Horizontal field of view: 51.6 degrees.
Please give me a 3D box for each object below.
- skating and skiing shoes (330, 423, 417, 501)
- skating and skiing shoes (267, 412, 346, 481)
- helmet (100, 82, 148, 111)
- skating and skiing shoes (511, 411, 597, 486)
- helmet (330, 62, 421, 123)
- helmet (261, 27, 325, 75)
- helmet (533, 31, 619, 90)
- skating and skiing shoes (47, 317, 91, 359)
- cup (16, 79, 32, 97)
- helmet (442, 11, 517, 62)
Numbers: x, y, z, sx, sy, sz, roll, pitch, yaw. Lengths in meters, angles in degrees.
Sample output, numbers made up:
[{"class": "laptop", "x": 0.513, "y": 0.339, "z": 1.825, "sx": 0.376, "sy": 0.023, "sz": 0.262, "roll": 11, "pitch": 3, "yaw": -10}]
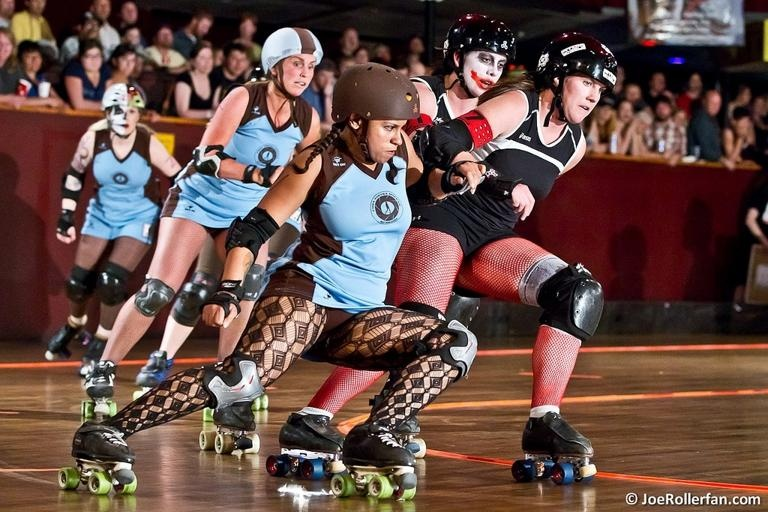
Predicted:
[{"class": "skating and skiing shoes", "x": -0.033, "y": 0.772, "z": 2.961, "sx": 0.136, "sy": 0.279, "sz": 0.391, "roll": 13, "pitch": -16, "yaw": -36}, {"class": "skating and skiing shoes", "x": -0.298, "y": 0.797, "z": 3.291, "sx": 0.364, "sy": 0.254, "sz": 0.231, "roll": -4, "pitch": -12, "yaw": 43}, {"class": "helmet", "x": -1.951, "y": -1.163, "z": 5.910, "sx": 0.269, "sy": 0.217, "sz": 0.199, "roll": -10, "pitch": 10, "yaw": 5}, {"class": "skating and skiing shoes", "x": 0.709, "y": 0.799, "z": 3.289, "sx": 0.196, "sy": 0.274, "sz": 0.384, "roll": 8, "pitch": -13, "yaw": -32}, {"class": "helmet", "x": -0.023, "y": -0.626, "z": 3.102, "sx": 0.293, "sy": 0.214, "sz": 0.222, "roll": 25, "pitch": 26, "yaw": 21}, {"class": "helmet", "x": -0.492, "y": -1.085, "z": 4.335, "sx": 0.294, "sy": 0.222, "sz": 0.232, "roll": -19, "pitch": 2, "yaw": 16}, {"class": "helmet", "x": 0.876, "y": -0.873, "z": 3.665, "sx": 0.295, "sy": 0.225, "sz": 0.266, "roll": 13, "pitch": 5, "yaw": 39}, {"class": "skating and skiing shoes", "x": -2.816, "y": 0.731, "z": 7.048, "sx": 0.171, "sy": 0.375, "sz": 0.127, "roll": 35, "pitch": 8, "yaw": -29}, {"class": "cup", "x": -3.543, "y": -1.629, "z": 7.791, "sx": 0.131, "sy": 0.187, "sz": 0.193, "roll": 7, "pitch": -2, "yaw": -24}, {"class": "helmet", "x": 0.492, "y": -1.112, "z": 4.092, "sx": 0.293, "sy": 0.219, "sz": 0.284, "roll": 7, "pitch": 5, "yaw": 29}]
